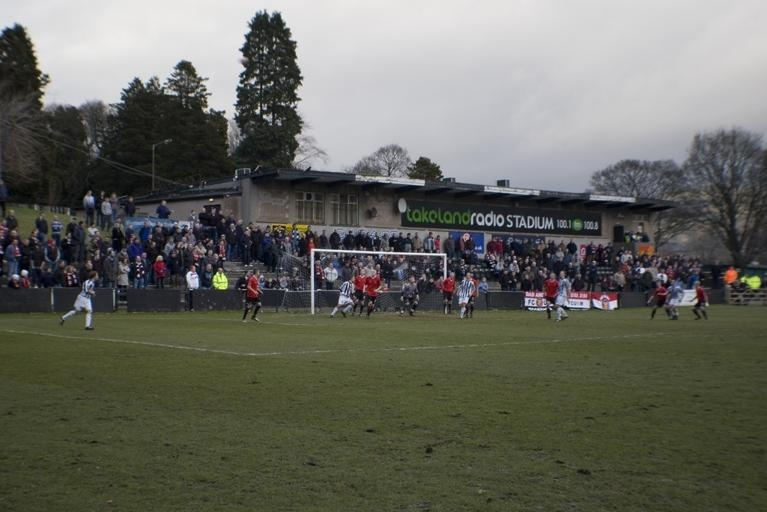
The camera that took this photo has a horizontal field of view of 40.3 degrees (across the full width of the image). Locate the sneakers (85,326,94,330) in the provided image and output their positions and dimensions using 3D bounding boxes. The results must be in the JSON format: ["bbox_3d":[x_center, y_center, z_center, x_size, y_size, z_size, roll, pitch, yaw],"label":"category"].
[{"bbox_3d":[-11.594,2.823,41.230,0.399,0.148,0.131,-3,-4,24],"label":"sneakers"}]
